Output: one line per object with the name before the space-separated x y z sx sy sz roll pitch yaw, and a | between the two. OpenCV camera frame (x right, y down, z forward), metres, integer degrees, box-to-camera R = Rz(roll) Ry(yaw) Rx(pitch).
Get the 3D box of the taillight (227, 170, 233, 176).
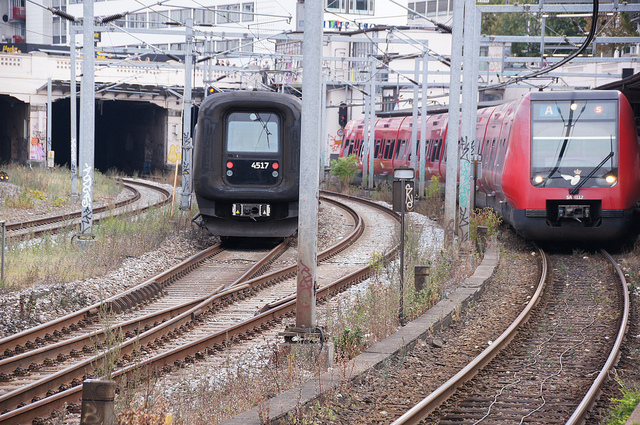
taillight | -2.708 -1.158 23.356 0.149 0.148 0.043 0 10 -9
